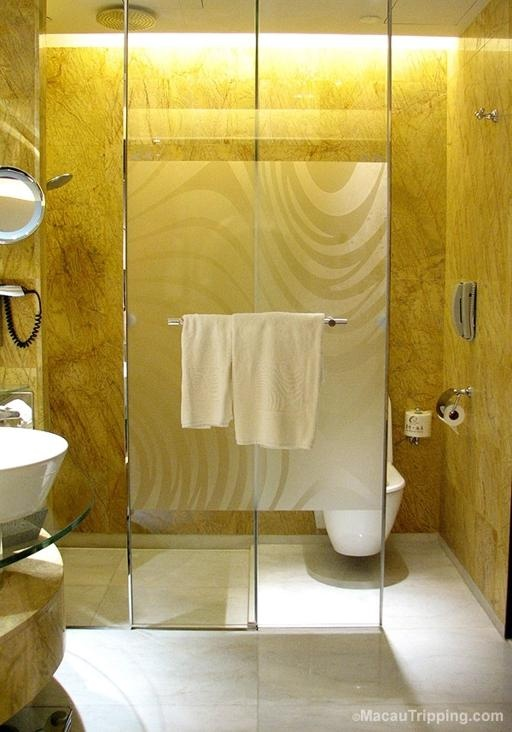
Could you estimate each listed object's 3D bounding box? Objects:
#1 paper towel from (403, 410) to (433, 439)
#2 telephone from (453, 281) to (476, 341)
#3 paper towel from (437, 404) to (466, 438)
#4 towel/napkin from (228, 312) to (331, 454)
[{"bbox_3d":[0.724,0.251,2.828,0.119,0.133,0.121,10,11,42],"label":"paper towel"},{"bbox_3d":[0.851,-0.224,2.520,0.101,0.232,0.045,5,8,30],"label":"telephone"},{"bbox_3d":[0.801,0.221,2.568,0.106,0.127,0.142,5,-2,10],"label":"paper towel"},{"bbox_3d":[0.072,0.036,2.117,0.443,0.685,0.126,0,4,3],"label":"towel/napkin"}]
